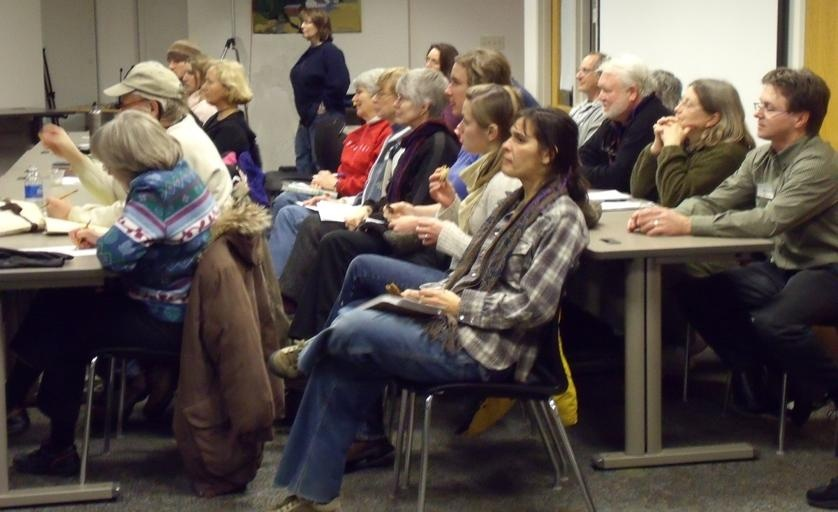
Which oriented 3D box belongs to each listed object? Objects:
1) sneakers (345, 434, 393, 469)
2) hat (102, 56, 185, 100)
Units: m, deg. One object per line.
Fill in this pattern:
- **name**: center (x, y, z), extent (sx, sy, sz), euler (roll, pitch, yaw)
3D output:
- **sneakers**: center (-0.235, 0.968, 3.347), extent (0.270, 0.130, 0.109), euler (-3, -1, -21)
- **hat**: center (-1.542, -0.966, 3.736), extent (0.348, 0.169, 0.232), euler (4, 7, -12)
